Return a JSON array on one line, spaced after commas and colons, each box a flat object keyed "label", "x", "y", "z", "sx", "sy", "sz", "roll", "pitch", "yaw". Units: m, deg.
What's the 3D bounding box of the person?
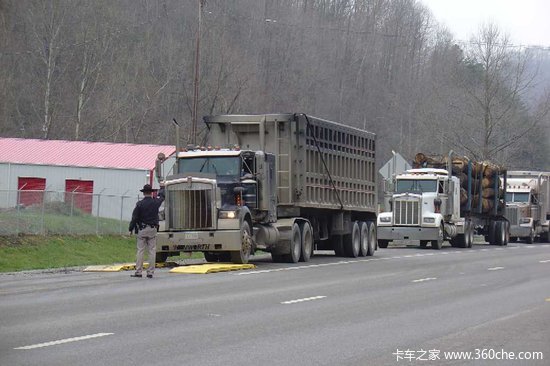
[{"label": "person", "x": -4.067, "y": 1.513, "z": 21.540, "sx": 0.881, "sy": 2.874, "sz": 0.692, "roll": 2, "pitch": -4, "yaw": -11}]

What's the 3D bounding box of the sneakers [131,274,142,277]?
[{"label": "sneakers", "x": -4.264, "y": 2.886, "z": 21.214, "sx": 0.407, "sy": 0.095, "sz": 0.186, "roll": -1, "pitch": -5, "yaw": 24}]
